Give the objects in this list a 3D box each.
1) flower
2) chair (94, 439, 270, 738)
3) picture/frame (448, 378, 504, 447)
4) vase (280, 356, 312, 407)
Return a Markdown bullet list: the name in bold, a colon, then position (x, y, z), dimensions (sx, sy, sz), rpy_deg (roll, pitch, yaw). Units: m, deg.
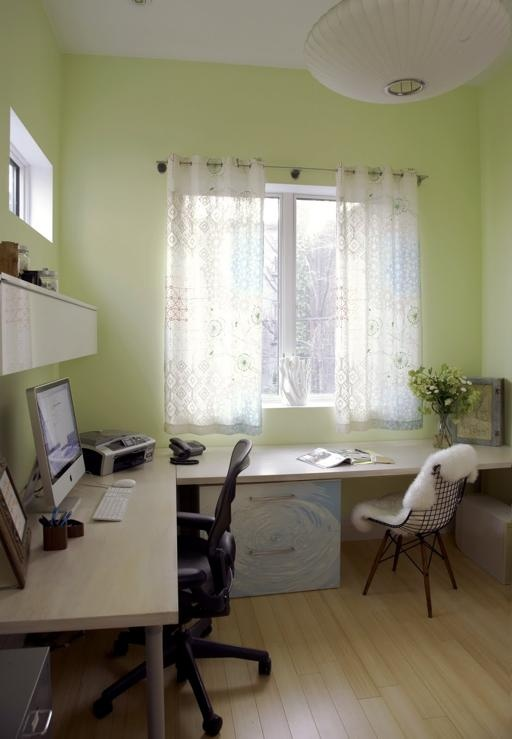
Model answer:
- **flower**: position (0.955, 0.145, 3.105), dimensions (0.398, 0.557, 0.415), rpy_deg (0, 4, 7)
- **chair**: position (-0.173, 0.680, 2.236), dimensions (0.710, 1.100, 0.806), rpy_deg (3, -1, -5)
- **picture/frame**: position (1.190, 0.231, 3.028), dimensions (0.321, 0.481, 0.084), rpy_deg (-2, -7, 36)
- **vase**: position (0.215, 0.045, 3.168), dimensions (0.162, 0.286, 0.180), rpy_deg (2, 9, 5)
